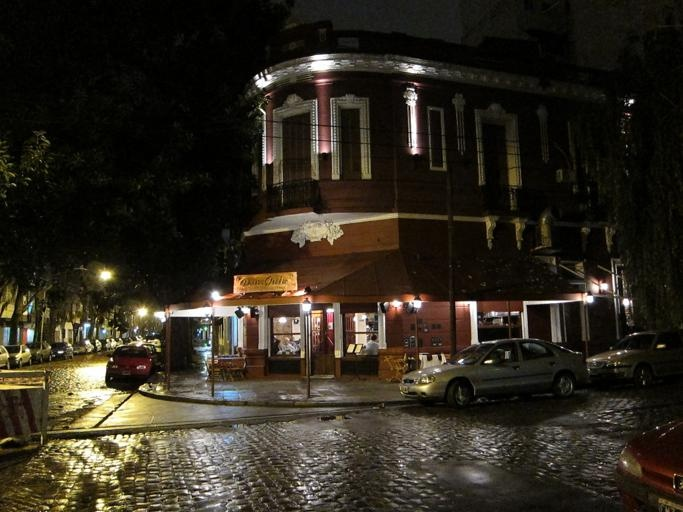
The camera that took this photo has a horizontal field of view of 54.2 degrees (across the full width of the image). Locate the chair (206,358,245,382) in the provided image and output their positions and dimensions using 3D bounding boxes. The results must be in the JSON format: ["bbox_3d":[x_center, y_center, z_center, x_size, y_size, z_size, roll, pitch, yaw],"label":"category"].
[{"bbox_3d":[-4.724,4.707,27.816,1.273,0.914,0.786,-2,-9,1],"label":"chair"}]

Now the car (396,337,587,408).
[{"bbox_3d":[4.491,3.540,19.581,4.492,1.657,2.278,2,-13,-14],"label":"car"}]

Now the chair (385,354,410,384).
[{"bbox_3d":[2.186,4.267,25.664,0.849,1.210,0.958,2,-10,-9],"label":"chair"}]
